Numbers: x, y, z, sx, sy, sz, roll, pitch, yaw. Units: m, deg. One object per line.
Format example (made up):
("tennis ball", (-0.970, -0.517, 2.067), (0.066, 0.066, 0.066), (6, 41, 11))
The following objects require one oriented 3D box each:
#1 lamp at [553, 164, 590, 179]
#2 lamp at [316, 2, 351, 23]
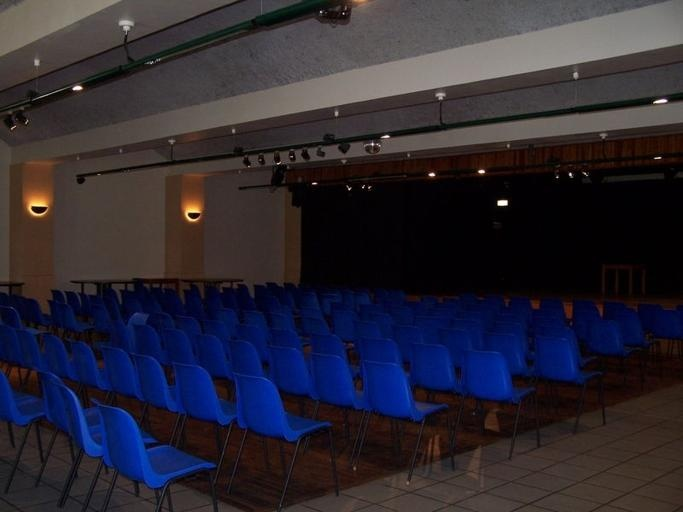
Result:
("lamp", (5.349, -1.917, 12.843), (0.748, 0.318, 0.809), (4, 6, 19))
("lamp", (-0.045, -2.631, 6.053), (0.265, 0.138, 0.365), (10, 20, 27))
